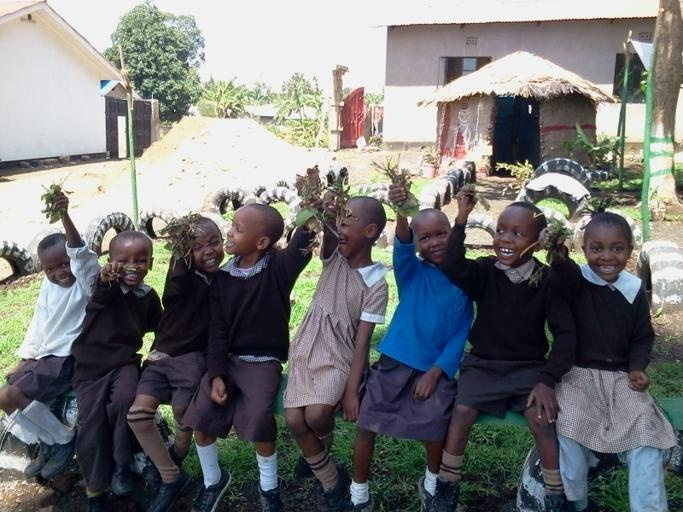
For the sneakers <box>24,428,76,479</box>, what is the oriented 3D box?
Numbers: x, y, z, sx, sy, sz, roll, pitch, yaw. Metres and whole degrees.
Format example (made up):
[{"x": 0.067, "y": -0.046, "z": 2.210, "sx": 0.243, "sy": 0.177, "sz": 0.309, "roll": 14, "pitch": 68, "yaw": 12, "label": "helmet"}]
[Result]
[{"x": -1.739, "y": 1.199, "z": 3.346, "sx": 0.154, "sy": 0.156, "sz": 0.364, "roll": 6, "pitch": 13, "yaw": 13, "label": "sneakers"}]

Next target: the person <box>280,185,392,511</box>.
[{"x": -0.036, "y": 0.572, "z": 3.149, "sx": 0.586, "sy": 1.793, "sz": 0.543, "roll": -1, "pitch": 10, "yaw": 4, "label": "person"}]

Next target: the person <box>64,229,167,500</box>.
[{"x": -1.321, "y": 0.661, "z": 3.224, "sx": 0.531, "sy": 1.588, "sz": 0.464, "roll": -6, "pitch": 10, "yaw": -19, "label": "person"}]
